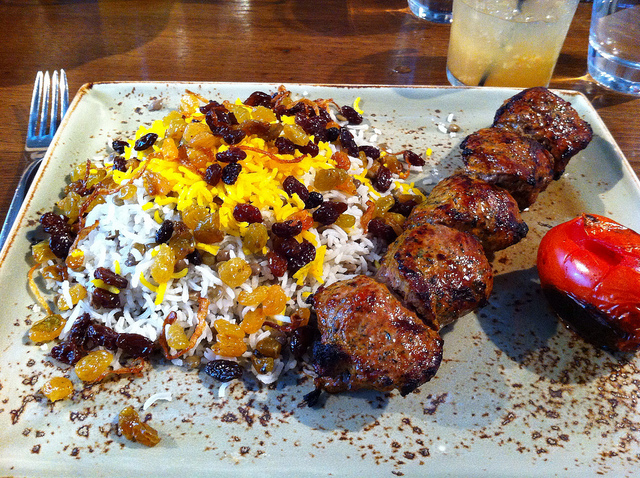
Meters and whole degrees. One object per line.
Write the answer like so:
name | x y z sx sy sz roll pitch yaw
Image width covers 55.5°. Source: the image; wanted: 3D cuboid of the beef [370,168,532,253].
beef | 0.972 -0.227 4.126 1.076 0.337 0.977 -2 22 -1
